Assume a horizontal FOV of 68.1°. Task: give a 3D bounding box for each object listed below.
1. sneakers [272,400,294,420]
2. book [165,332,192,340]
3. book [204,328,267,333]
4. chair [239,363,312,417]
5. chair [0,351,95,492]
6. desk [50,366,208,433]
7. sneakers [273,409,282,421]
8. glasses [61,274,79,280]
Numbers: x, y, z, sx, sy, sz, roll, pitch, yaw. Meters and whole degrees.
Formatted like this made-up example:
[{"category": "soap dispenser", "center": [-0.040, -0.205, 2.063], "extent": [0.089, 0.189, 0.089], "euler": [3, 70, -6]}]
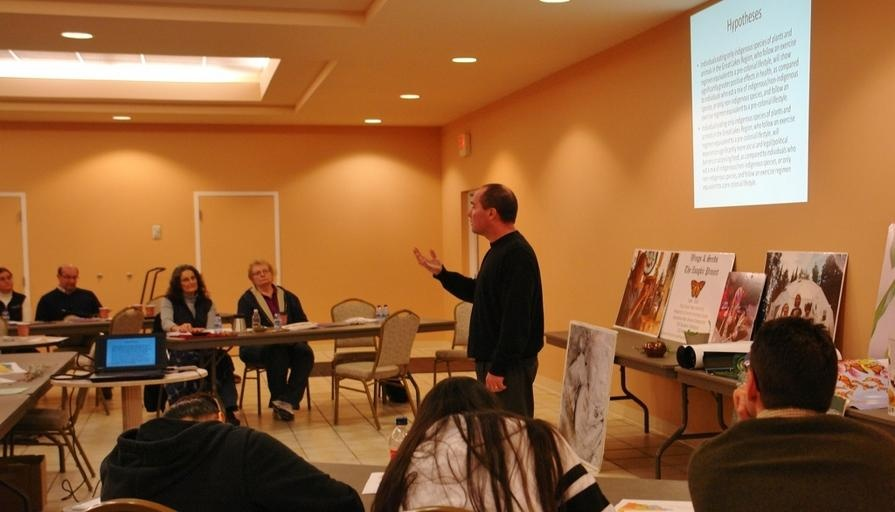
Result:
[{"category": "sneakers", "center": [-1.903, 1.811, 7.664], "extent": [0.138, 0.146, 0.343], "euler": [-20, 17, -14]}, {"category": "book", "center": [-2.867, 0.856, 7.062], "extent": [0.242, 0.043, 0.435], "euler": [0, 1, -23]}, {"category": "book", "center": [-2.342, 0.831, 7.393], "extent": [0.685, 0.044, 0.404], "euler": [0, 1, -13]}, {"category": "chair", "center": [-2.384, 1.723, 8.626], "extent": [0.897, 0.644, 0.774], "euler": [2, -6, -25]}, {"category": "chair", "center": [-3.565, 1.510, 5.883], "extent": [0.795, 1.078, 1.155], "euler": [1, -1, -9]}, {"category": "desk", "center": [-2.816, 1.286, 5.966], "extent": [0.633, 0.381, 0.622], "euler": [-14, 4, 36]}, {"category": "sneakers", "center": [-2.009, 1.888, 7.796], "extent": [0.074, 0.084, 0.214], "euler": [-1, -26, -10]}, {"category": "glasses", "center": [-5.187, 0.303, 9.150], "extent": [0.147, 0.095, 0.238], "euler": [1, 1, 12]}]
